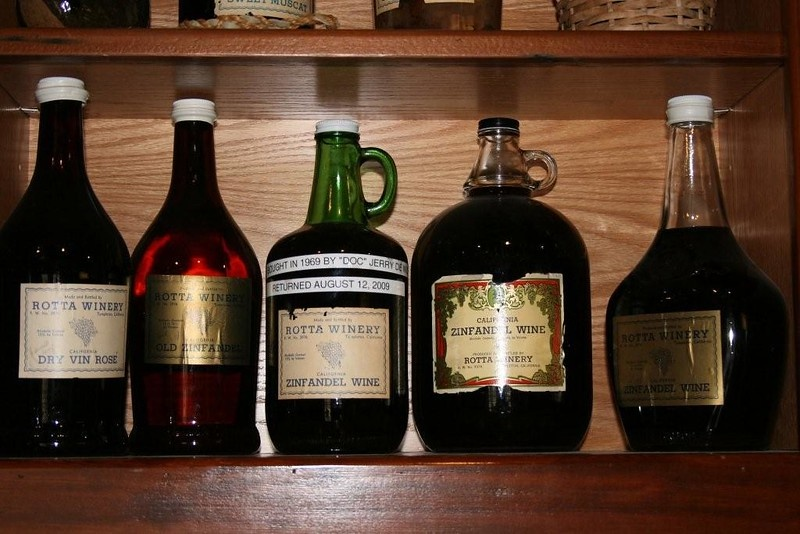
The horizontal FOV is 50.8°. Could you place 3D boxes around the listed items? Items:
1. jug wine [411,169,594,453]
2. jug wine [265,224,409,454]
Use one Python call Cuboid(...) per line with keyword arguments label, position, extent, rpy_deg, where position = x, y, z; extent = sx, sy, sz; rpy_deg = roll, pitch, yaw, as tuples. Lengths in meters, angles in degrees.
Cuboid(label="jug wine", position=(0.114, 0.059, 1.036), extent=(0.232, 0.301, 0.148), rpy_deg=(0, -8, -3))
Cuboid(label="jug wine", position=(-0.070, 0.082, 1.006), extent=(0.157, 0.255, 0.131), rpy_deg=(-1, -4, 7))
